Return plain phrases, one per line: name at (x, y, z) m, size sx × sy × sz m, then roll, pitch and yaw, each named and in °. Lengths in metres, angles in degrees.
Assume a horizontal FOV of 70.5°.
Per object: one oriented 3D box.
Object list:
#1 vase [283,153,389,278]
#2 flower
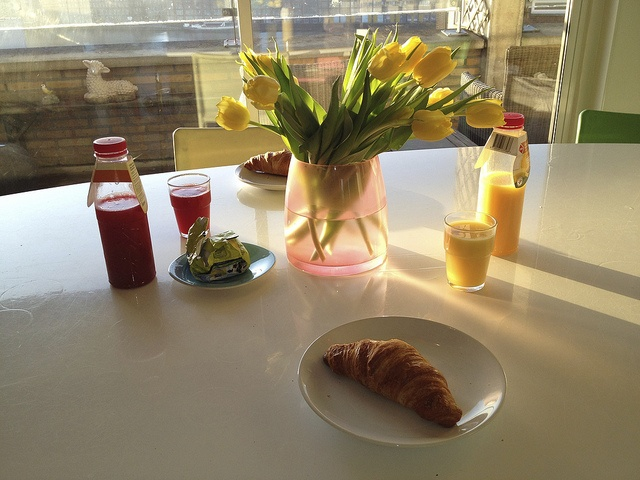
vase at (0.030, -0.062, 1.065) m, size 0.238 × 0.238 × 0.241 m, roll -1°, pitch 19°, yaw -4°
flower at (0.082, -0.268, 0.967) m, size 0.502 × 0.395 × 0.472 m, roll 6°, pitch -4°, yaw -13°
